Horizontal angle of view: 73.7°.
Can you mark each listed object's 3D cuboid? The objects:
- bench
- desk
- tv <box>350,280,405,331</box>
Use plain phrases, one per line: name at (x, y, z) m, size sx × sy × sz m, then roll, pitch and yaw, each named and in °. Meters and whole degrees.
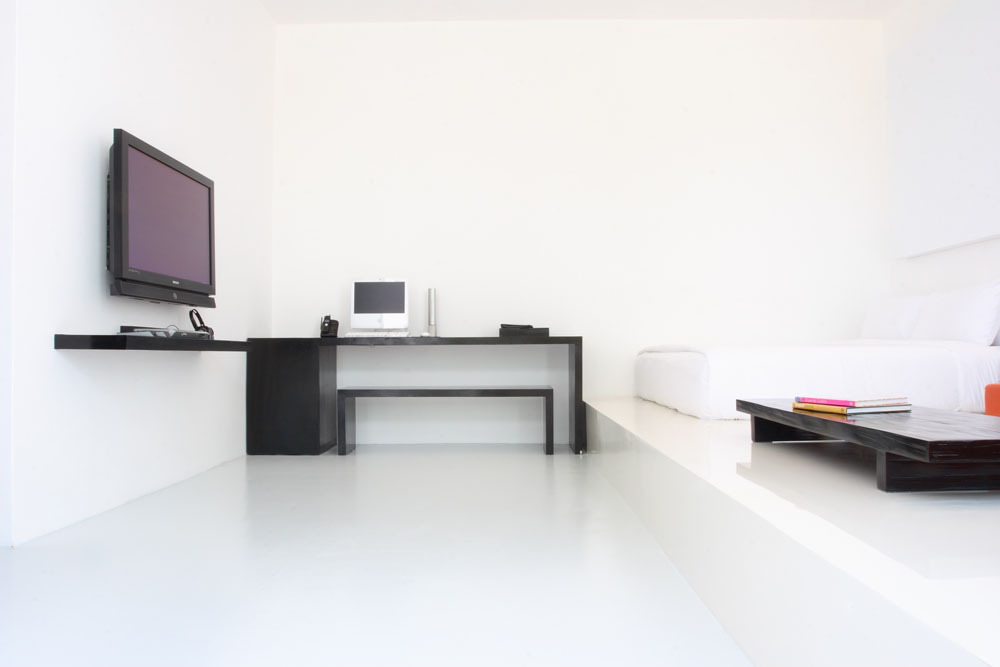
bench at (-0.396, 0.647, 5.003) m, size 1.577 × 0.567 × 0.468 m, roll 0°, pitch 3°, yaw -5°
desk at (-0.626, 0.450, 4.903) m, size 2.405 × 0.863 × 0.610 m, roll 0°, pitch -1°, yaw 5°
tv at (-0.925, -0.234, 5.093) m, size 0.420 × 0.389 × 0.144 m, roll -1°, pitch 17°, yaw -15°
